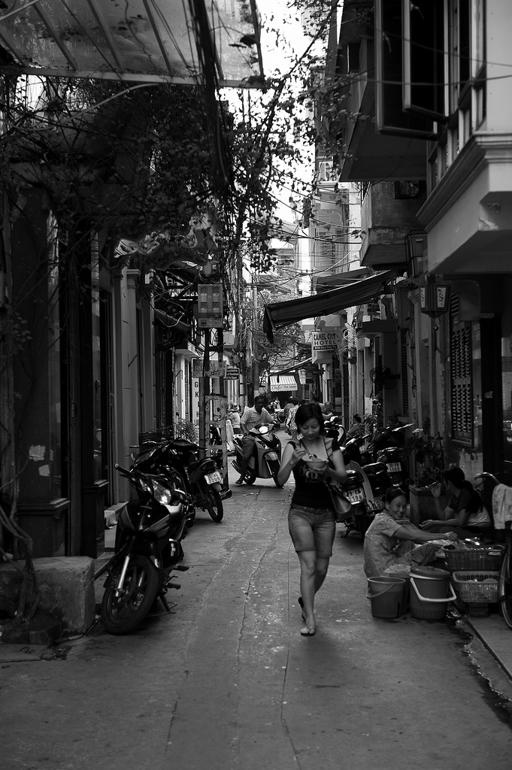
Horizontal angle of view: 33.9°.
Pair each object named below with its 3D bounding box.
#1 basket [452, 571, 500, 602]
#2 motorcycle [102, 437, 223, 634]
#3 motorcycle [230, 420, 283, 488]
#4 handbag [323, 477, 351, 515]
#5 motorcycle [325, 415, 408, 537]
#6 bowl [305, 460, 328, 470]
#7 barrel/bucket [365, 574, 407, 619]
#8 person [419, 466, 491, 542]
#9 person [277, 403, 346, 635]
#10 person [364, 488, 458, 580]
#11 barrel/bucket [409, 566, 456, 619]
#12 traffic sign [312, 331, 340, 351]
[{"bbox_3d":[1.524,1.399,5.780,0.258,0.119,0.201,0,3,5],"label":"basket"},{"bbox_3d":[-0.731,1.047,6.468,0.674,1.322,2.130,6,4,7],"label":"motorcycle"},{"bbox_3d":[0.005,1.422,16.705,0.623,1.206,1.951,-5,0,-26],"label":"motorcycle"},{"bbox_3d":[0.550,0.759,5.630,0.057,0.245,0.140,-25,-27,-8],"label":"handbag"},{"bbox_3d":[1.431,1.132,10.071,0.775,1.206,1.841,-4,-1,8],"label":"motorcycle"},{"bbox_3d":[0.396,0.541,5.574,0.156,0.060,0.084,-2,-4,23],"label":"bowl"},{"bbox_3d":[0.936,1.509,6.022,0.258,0.217,0.261,-1,-2,0],"label":"barrel/bucket"},{"bbox_3d":[1.702,1.127,7.156,0.517,0.763,0.360,-1,-10,9],"label":"person"},{"bbox_3d":[0.390,0.869,5.676,0.434,1.509,0.620,-1,-3,7],"label":"person"},{"bbox_3d":[1.224,1.230,6.655,0.711,0.829,0.514,-4,-2,21],"label":"person"},{"bbox_3d":[1.245,1.479,5.991,0.324,0.368,0.324,3,-1,0],"label":"barrel/bucket"},{"bbox_3d":[2.756,-1.747,33.253,0.919,0.948,2.615,0,-3,5],"label":"traffic sign"}]
